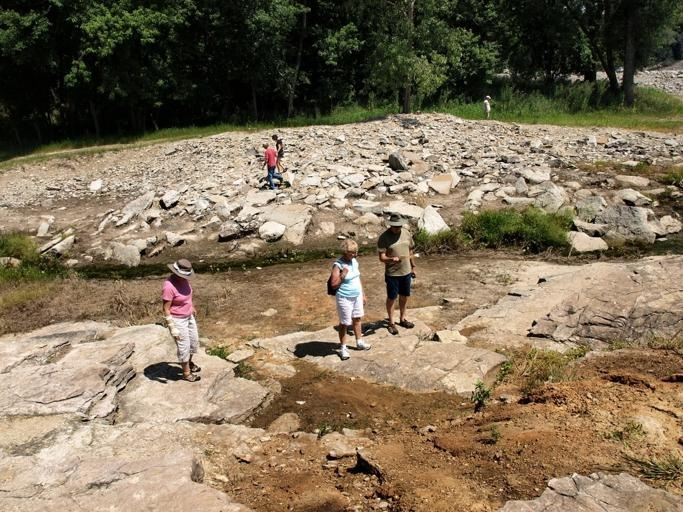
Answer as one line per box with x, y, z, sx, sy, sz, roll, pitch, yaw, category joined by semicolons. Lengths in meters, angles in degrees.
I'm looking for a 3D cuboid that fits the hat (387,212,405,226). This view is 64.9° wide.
1.082;-0.691;10.535;0.278;0.108;0.254;18;41;24;hat

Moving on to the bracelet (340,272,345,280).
0.058;0.382;9.862;0.039;0.103;0.117;28;60;39;bracelet

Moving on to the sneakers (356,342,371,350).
0.448;1.783;10.463;0.267;0.122;0.126;-1;26;4;sneakers

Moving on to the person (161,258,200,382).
-2.800;1.154;9.562;0.594;2.206;0.583;-9;17;-17;person

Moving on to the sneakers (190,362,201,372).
-2.686;2.072;9.914;0.092;0.172;0.255;-17;14;-43;sneakers

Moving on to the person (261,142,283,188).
-2.559;-3.354;20.305;0.602;1.464;1.161;-2;17;5;person

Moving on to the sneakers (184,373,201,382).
-2.677;2.210;9.662;0.217;0.090;0.145;2;21;6;sneakers

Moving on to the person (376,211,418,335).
1.139;0.358;10.829;0.737;2.445;0.457;-12;18;-25;person

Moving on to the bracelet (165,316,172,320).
-2.975;1.088;9.291;0.057;0.042;0.057;1;3;5;bracelet

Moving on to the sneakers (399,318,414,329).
1.372;1.425;11.157;0.163;0.098;0.249;-15;14;-35;sneakers

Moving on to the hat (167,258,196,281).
-2.750;0.245;9.290;0.386;0.133;0.350;13;39;-34;hat

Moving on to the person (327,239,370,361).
0.167;0.807;10.298;0.722;2.316;0.742;-3;17;2;person

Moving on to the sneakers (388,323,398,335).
1.064;1.527;10.970;0.132;0.097;0.234;-8;17;-16;sneakers
